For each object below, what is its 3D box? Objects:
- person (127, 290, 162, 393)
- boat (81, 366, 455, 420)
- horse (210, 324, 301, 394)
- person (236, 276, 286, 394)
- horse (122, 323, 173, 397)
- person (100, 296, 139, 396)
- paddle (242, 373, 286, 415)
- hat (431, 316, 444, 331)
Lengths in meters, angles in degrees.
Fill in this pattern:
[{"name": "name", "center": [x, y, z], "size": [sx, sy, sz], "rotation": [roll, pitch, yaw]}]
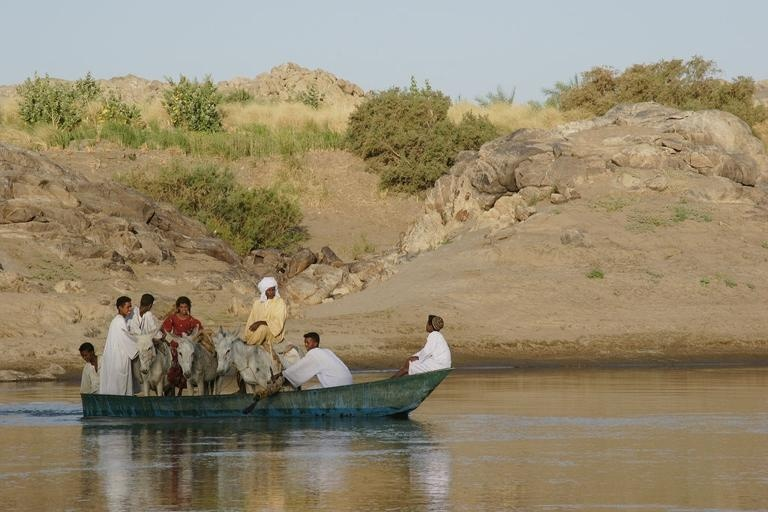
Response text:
[{"name": "person", "center": [-6.746, 2.317, 44.814], "size": [0.939, 2.573, 0.892], "rotation": [4, -5, 1]}, {"name": "boat", "center": [-3.466, 3.733, 45.056], "size": [10.514, 1.200, 1.639], "rotation": [0, 17, 2]}, {"name": "horse", "center": [-3.745, 2.836, 44.494], "size": [3.520, 2.088, 0.983], "rotation": [1, -10, -25]}, {"name": "person", "center": [-3.249, 2.211, 45.230], "size": [1.211, 2.932, 1.585], "rotation": [7, -2, 10]}, {"name": "horse", "center": [-6.528, 2.859, 44.868], "size": [1.003, 1.846, 1.210], "rotation": [2, -2, -21]}, {"name": "person", "center": [-7.420, 2.452, 45.168], "size": [1.058, 2.639, 0.998], "rotation": [7, -3, -6]}, {"name": "paddle", "center": [-3.287, 3.643, 44.389], "size": [0.532, 0.468, 1.727], "rotation": [21, 38, 25]}, {"name": "hat", "center": [1.455, 1.826, 44.961], "size": [0.275, 0.393, 0.293], "rotation": [-3, -8, 4]}]
